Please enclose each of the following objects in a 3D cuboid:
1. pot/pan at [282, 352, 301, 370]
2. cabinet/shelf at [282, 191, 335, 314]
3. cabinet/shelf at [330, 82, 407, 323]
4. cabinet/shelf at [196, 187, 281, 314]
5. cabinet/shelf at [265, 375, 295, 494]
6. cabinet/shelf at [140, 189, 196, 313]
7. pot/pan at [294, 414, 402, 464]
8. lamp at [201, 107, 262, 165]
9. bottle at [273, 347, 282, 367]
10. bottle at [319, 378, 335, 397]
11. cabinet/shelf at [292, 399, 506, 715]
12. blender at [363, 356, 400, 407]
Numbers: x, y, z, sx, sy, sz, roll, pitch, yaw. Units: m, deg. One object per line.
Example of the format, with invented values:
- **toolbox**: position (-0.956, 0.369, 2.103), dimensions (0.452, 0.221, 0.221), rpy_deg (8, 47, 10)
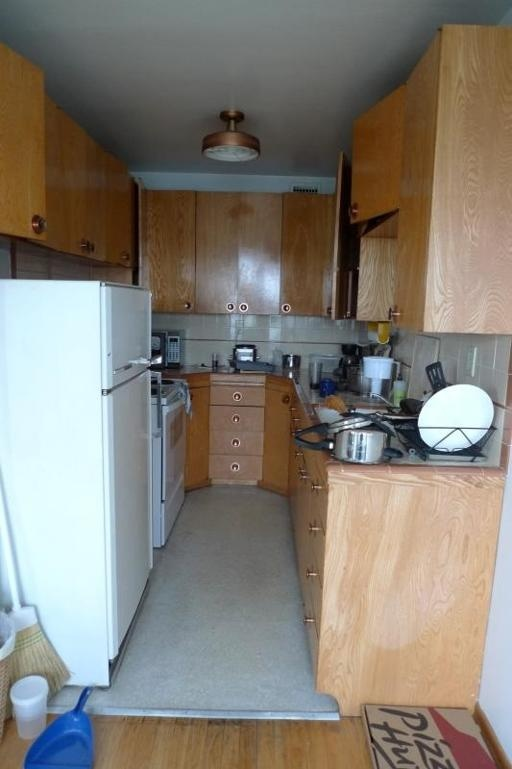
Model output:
- **pot/pan**: position (0.274, -0.188, 4.240), dimensions (0.117, 0.100, 0.126), rpy_deg (-1, 6, -9)
- **cabinet/shelf**: position (0.370, -1.108, 4.146), dimensions (0.447, 0.858, 0.456), rpy_deg (4, 41, 9)
- **cabinet/shelf**: position (0.440, -0.669, 2.297), dimensions (0.132, 0.425, 0.402), rpy_deg (1, 0, -32)
- **cabinet/shelf**: position (-0.112, -0.938, 4.270), dimensions (0.670, 1.022, 0.492), rpy_deg (-1, -10, 5)
- **cabinet/shelf**: position (0.154, 0.371, 3.892), dimensions (0.111, 0.873, 0.367), rpy_deg (-2, 10, -21)
- **cabinet/shelf**: position (-0.685, -1.139, 4.197), dimensions (0.391, 0.896, 0.484), rpy_deg (0, 34, -7)
- **pot/pan**: position (0.290, 0.134, 1.715), dimensions (0.301, 0.164, 0.166), rpy_deg (-2, 3, 45)
- **lamp**: position (-0.132, -1.330, 2.884), dimensions (0.299, 0.222, 0.312), rpy_deg (3, 8, 30)
- **bottle**: position (0.170, -0.229, 4.450), dimensions (0.093, 0.171, 0.137), rpy_deg (2, 10, 2)
- **bottle**: position (0.410, 0.013, 3.107), dimensions (0.087, 0.106, 0.092), rpy_deg (-2, 3, -24)
- **cabinet/shelf**: position (0.441, 0.529, 2.044), dimensions (0.583, 1.013, 1.115), rpy_deg (1, 2, 4)
- **blender**: position (0.636, -0.026, 2.836), dimensions (0.214, 0.272, 0.233), rpy_deg (1, 8, 2)
